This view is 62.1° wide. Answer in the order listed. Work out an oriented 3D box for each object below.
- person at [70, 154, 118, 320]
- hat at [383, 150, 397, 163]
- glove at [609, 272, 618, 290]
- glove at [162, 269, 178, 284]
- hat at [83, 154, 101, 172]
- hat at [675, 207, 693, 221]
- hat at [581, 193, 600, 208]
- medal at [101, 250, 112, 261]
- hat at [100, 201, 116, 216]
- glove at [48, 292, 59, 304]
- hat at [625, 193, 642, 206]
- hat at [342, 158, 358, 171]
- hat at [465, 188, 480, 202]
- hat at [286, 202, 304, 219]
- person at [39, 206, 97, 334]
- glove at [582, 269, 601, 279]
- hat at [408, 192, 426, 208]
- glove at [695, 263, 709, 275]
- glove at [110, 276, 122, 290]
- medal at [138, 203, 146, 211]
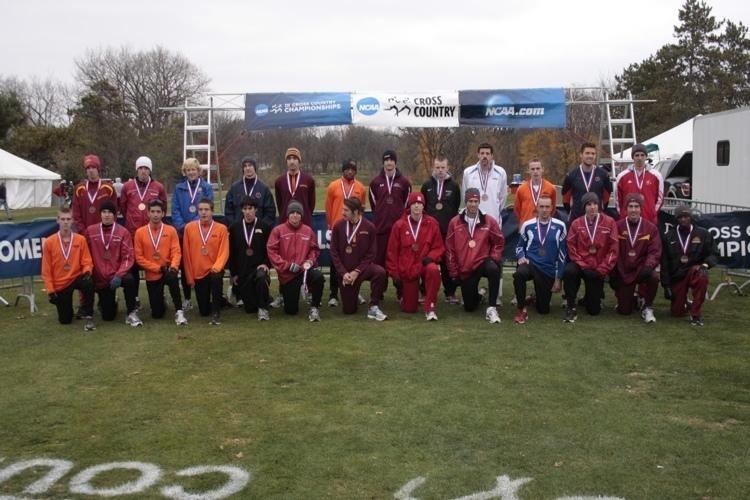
[{"bbox_3d":[-5.105,-0.416,11.417,0.772,2.684,0.632,3,29,-11],"label":"person"},{"bbox_3d":[0.271,-1.661,11.166,0.174,0.183,0.233,-3,13,-14],"label":"hat"},{"bbox_3d":[4.028,0.536,10.462,0.083,0.273,0.193,1,-13,-16],"label":"glove"},{"bbox_3d":[-3.427,0.449,10.403,0.231,0.243,0.203,-4,10,-19],"label":"glove"},{"bbox_3d":[-4.985,-1.519,10.946,0.229,0.234,0.232,-7,11,-33],"label":"hat"},{"bbox_3d":[5.212,-0.627,10.498,0.258,0.284,0.359,-2,-9,29],"label":"hat"},{"bbox_3d":[3.645,-0.822,10.449,0.207,0.226,0.287,0,-5,10],"label":"hat"},{"bbox_3d":[-4.478,0.108,10.348,0.156,0.162,0.026,5,4,-1],"label":"medal"},{"bbox_3d":[-4.433,-0.687,10.363,0.184,0.198,0.248,6,-10,-5],"label":"hat"},{"bbox_3d":[-5.275,0.789,10.148,0.182,0.197,0.108,4,10,29],"label":"glove"},{"bbox_3d":[4.320,-0.826,10.350,0.189,0.164,0.204,1,-4,23],"label":"hat"},{"bbox_3d":[-0.454,-1.537,11.223,0.199,0.234,0.242,3,-9,-8],"label":"hat"},{"bbox_3d":[1.669,-0.923,10.590,0.173,0.207,0.232,0,0,-2],"label":"hat"},{"bbox_3d":[-1.370,-0.696,10.565,0.243,0.227,0.213,-3,9,-15],"label":"hat"},{"bbox_3d":[-5.013,0.275,10.195,0.878,1.890,0.519,0,9,6],"label":"person"},{"bbox_3d":[3.600,0.407,10.269,0.211,0.064,0.160,26,5,34],"label":"glove"},{"bbox_3d":[0.711,-0.854,10.680,0.189,0.199,0.264,1,-5,-2],"label":"hat"},{"bbox_3d":[5.364,0.314,10.133,0.322,0.150,0.144,-6,11,-30],"label":"glove"},{"bbox_3d":[-4.241,0.534,10.193,0.155,0.194,0.200,-5,-8,-22],"label":"glove"},{"bbox_3d":[-4.178,-0.758,11.102,0.125,0.129,0.028,0,1,-7],"label":"medal"}]
